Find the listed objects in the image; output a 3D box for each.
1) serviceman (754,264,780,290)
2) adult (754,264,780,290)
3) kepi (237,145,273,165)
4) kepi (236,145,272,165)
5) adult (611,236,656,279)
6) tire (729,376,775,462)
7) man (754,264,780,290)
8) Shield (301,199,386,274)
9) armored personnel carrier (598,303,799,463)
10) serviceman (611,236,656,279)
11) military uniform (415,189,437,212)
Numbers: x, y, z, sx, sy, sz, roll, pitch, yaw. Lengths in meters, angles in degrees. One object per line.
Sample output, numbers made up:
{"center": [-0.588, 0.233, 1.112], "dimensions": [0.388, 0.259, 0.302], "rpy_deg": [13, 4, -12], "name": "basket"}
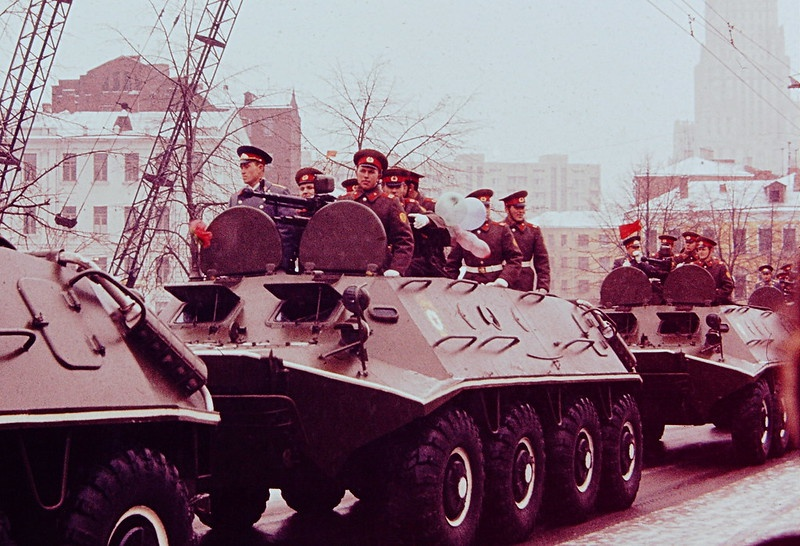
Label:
{"center": [9.611, 0.091, 29.271], "dimensions": [0.541, 0.373, 0.951], "rpy_deg": [-1, -16, 15], "name": "serviceman"}
{"center": [9.611, 0.091, 29.271], "dimensions": [0.541, 0.373, 0.951], "rpy_deg": [-1, -16, 15], "name": "adult"}
{"center": [-1.826, -1.489, 14.179], "dimensions": [0.286, 0.144, 0.295], "rpy_deg": [9, 1, 39], "name": "kepi"}
{"center": [-1.833, -1.489, 14.178], "dimensions": [0.285, 0.149, 0.295], "rpy_deg": [7, 0, 42], "name": "kepi"}
{"center": [3.978, -0.299, 19.027], "dimensions": [0.774, 0.777, 0.469], "rpy_deg": [-1, 0, 2], "name": "adult"}
{"center": [5.243, 2.177, 16.539], "dimensions": [0.369, 1.205, 0.977], "rpy_deg": [0, -3, 41], "name": "tire"}
{"center": [9.611, 0.091, 29.271], "dimensions": [0.541, 0.373, 0.951], "rpy_deg": [-1, -16, 15], "name": "man"}
{"center": [-0.624, -0.390, 12.337], "dimensions": [0.997, 0.792, 0.222], "rpy_deg": [1, -2, 26], "name": "Shield"}
{"center": [4.750, 1.641, 17.054], "dimensions": [1.876, 1.629, 3.137], "rpy_deg": [-4, -9, 31], "name": "armored personnel carrier"}
{"center": [3.978, -0.323, 19.027], "dimensions": [0.809, 0.841, 0.483], "rpy_deg": [-2, 4, -4], "name": "serviceman"}
{"center": [0.421, -1.050, 16.823], "dimensions": [0.361, 0.173, 0.356], "rpy_deg": [18, 0, -32], "name": "military uniform"}
